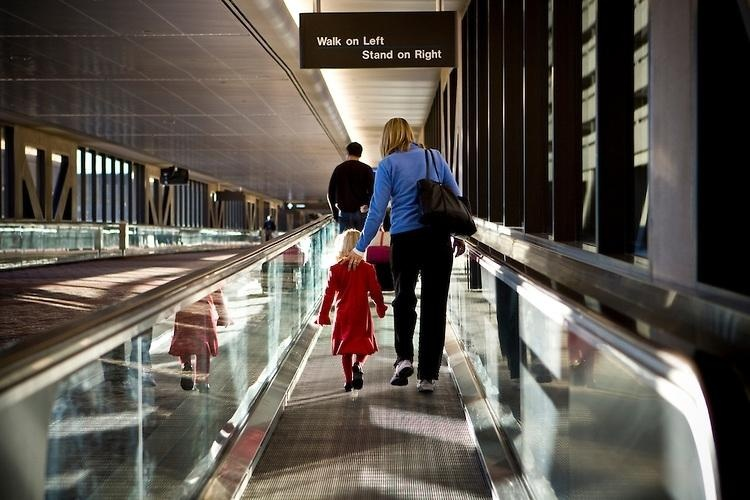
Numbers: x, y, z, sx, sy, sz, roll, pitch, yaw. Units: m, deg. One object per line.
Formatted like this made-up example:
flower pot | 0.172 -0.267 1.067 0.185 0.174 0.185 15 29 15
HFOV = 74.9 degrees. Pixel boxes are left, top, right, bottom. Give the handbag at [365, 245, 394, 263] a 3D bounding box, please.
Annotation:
handbag | 0.047 0.042 5.489 0.290 0.225 0.171 -1 -8 0

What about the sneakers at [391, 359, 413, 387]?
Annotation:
sneakers | 0.205 0.925 3.711 0.110 0.129 0.270 5 -34 -6

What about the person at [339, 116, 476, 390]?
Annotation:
person | 0.279 0.067 3.714 0.744 2.144 0.290 0 4 -2

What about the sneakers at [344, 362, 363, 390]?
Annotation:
sneakers | -0.166 1.053 4.027 0.107 0.256 0.107 4 -1 10

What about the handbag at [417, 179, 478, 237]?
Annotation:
handbag | 0.527 -0.312 3.510 0.402 0.387 0.217 0 5 -2
